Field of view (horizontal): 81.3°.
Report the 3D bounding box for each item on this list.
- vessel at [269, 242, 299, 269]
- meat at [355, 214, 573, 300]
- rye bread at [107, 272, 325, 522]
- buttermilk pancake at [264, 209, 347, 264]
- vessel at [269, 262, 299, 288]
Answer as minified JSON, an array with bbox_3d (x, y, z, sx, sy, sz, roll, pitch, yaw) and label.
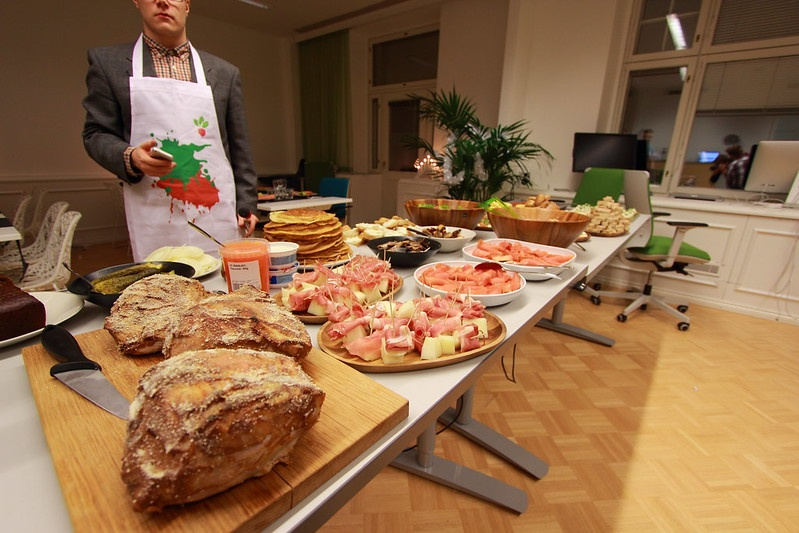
[{"bbox_3d":[-0.477,-0.048,1.940,0.117,0.073,0.113,4,12,25],"label":"vessel"},{"bbox_3d":[0.478,-0.127,2.592,1.107,0.322,1.214,-7,10,-39],"label":"meat"},{"bbox_3d":[-0.656,0.381,1.591,0.606,0.576,0.693,-11,19,-33],"label":"rye bread"},{"bbox_3d":[-0.402,-0.160,2.134,0.331,0.249,0.354,7,11,42],"label":"buttermilk pancake"},{"bbox_3d":[-0.483,0.031,1.941,0.105,0.071,0.108,-10,15,-40],"label":"vessel"}]
